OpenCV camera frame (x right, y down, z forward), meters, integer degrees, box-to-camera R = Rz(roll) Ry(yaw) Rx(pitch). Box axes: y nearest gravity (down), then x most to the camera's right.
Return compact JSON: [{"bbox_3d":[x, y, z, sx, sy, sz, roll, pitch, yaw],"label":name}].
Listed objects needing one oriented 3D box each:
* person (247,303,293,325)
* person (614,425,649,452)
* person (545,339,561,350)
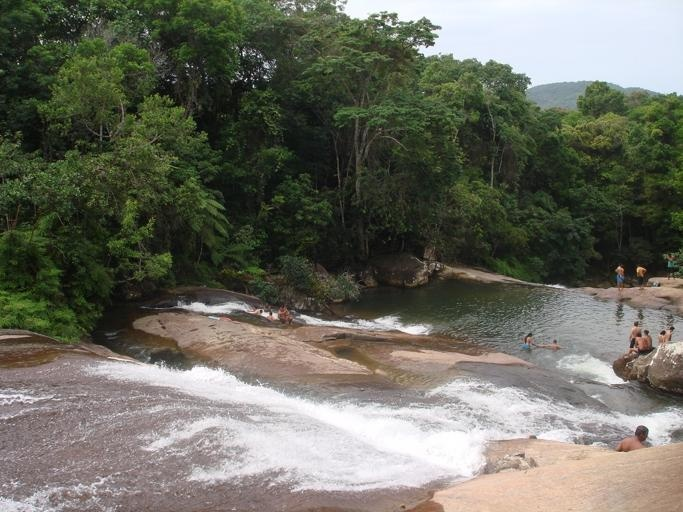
[{"bbox_3d":[-3.026,2.614,25.737,1.351,0.468,0.958,7,6,-23],"label":"person"},{"bbox_3d":[7.803,4.926,15.125,0.697,0.545,1.145,3,1,25],"label":"person"},{"bbox_3d":[8.936,3.676,23.698,0.606,0.300,0.837,3,1,19],"label":"person"}]
